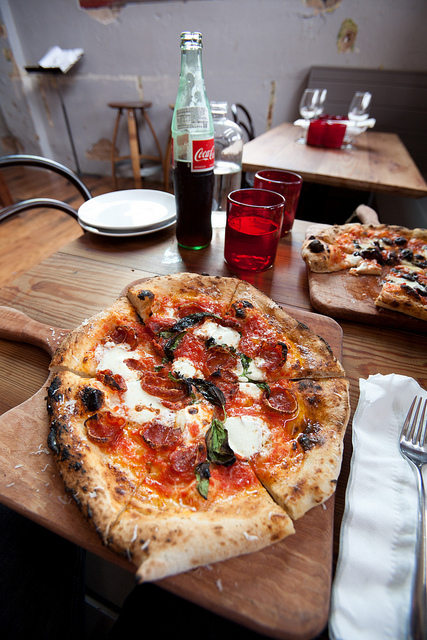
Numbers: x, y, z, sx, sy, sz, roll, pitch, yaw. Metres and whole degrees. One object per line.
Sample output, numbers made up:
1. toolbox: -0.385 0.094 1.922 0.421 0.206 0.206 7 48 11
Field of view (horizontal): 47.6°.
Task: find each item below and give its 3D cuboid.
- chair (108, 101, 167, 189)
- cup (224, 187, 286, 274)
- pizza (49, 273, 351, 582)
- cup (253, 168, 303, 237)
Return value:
1. chair: -0.665 -1.553 4.233 0.456 0.738 0.452 14 50 5
2. cup: 0.096 -0.276 1.314 0.143 0.208 0.227 -3 45 -8
3. pizza: -0.039 0.159 0.977 0.603 0.109 0.708 3 43 6
4. cup: 0.181 -0.378 1.454 0.118 0.188 0.183 -13 47 -13
